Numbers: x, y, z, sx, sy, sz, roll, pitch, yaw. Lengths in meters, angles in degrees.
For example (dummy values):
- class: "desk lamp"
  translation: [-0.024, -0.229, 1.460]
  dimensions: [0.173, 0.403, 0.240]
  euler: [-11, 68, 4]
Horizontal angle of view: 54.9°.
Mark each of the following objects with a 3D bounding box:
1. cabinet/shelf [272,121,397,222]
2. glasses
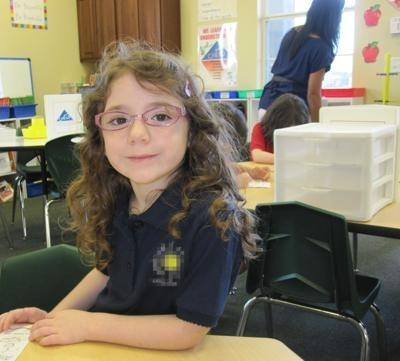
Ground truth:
- class: "cabinet/shelf"
  translation: [0.498, -0.026, 1.433]
  dimensions: [0.355, 0.380, 0.367]
  euler: [2, 5, 38]
- class: "glasses"
  translation: [-0.136, -0.142, 0.877]
  dimensions: [0.195, 0.048, 0.079]
  euler: [-2, 11, 15]
